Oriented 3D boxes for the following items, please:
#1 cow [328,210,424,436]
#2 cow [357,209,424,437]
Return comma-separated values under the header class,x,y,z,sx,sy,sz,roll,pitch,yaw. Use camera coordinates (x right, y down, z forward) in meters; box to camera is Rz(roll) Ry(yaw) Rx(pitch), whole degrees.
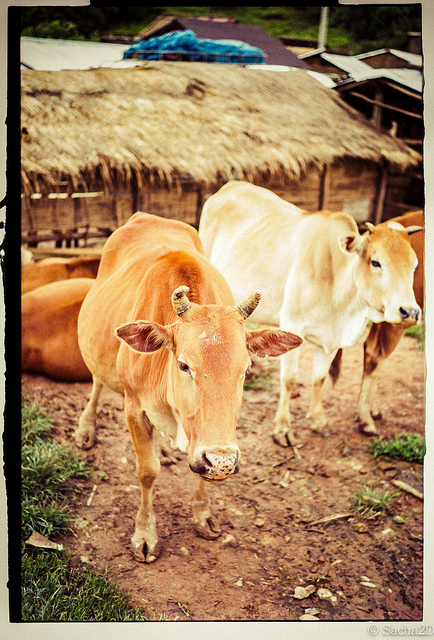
class,x,y,z,sx,sy,sz,roll,pitch,yaw
cow,1.164,0.020,4.997,0.414,1.590,0.527,-2,19,-21
cow,1.219,0.022,4.981,0.316,1.567,0.498,5,17,-1
